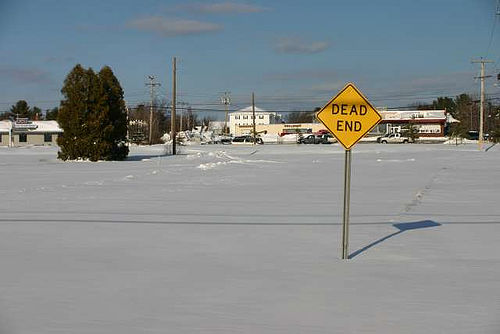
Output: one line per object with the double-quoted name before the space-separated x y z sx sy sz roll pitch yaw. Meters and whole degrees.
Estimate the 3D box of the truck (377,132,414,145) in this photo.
"truck" 16.423 -3.318 98.198 4.487 1.500 2.032 2 2 -1

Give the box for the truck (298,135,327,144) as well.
"truck" 6.762 -3.094 93.923 2.851 0.916 1.746 -1 2 7

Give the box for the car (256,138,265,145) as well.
"car" 1.127 -3.219 103.178 0.870 0.661 5.090 -1 2 0
